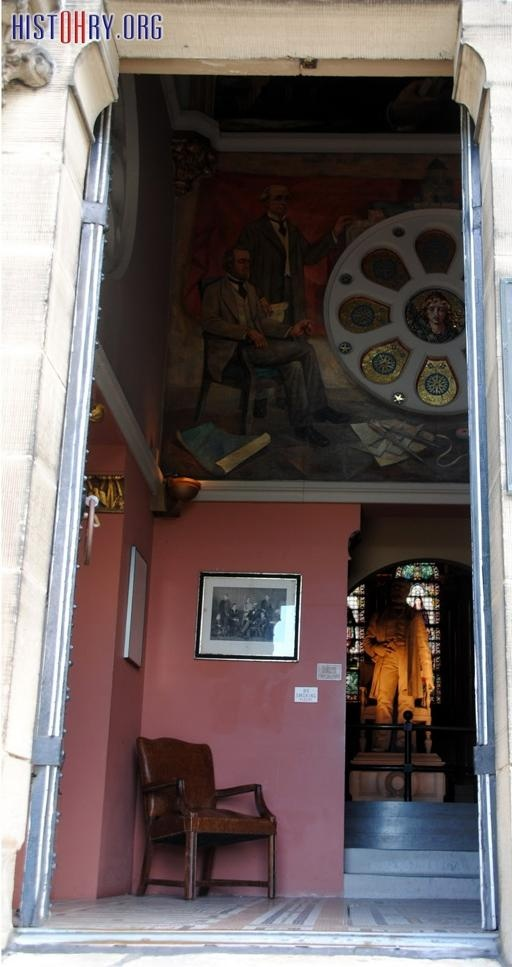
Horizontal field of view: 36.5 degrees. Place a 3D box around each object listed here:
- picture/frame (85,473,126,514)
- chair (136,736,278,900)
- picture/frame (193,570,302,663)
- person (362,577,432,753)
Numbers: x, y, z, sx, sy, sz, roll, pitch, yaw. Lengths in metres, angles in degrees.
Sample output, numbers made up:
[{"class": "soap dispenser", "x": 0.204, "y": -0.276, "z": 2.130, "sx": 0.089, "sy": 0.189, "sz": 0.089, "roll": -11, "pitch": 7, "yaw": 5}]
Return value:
[{"class": "picture/frame", "x": -1.028, "y": 0.065, "z": 5.221, "sx": 0.241, "sy": 0.278, "sz": 0.035, "roll": 1, "pitch": -6, "yaw": -3}, {"class": "chair", "x": -0.368, "y": 2.405, "z": 5.507, "sx": 0.676, "sy": 1.087, "sz": 0.685, "roll": 19, "pitch": -33, "yaw": -36}, {"class": "picture/frame", "x": -0.049, "y": 1.123, "z": 6.396, "sx": 0.660, "sy": 0.647, "sz": 0.072, "roll": 1, "pitch": -25, "yaw": 4}, {"class": "person", "x": 1.684, "y": 2.039, "z": 9.140, "sx": 0.691, "sy": 2.076, "sz": 0.453, "roll": 2, "pitch": 21, "yaw": 13}]
